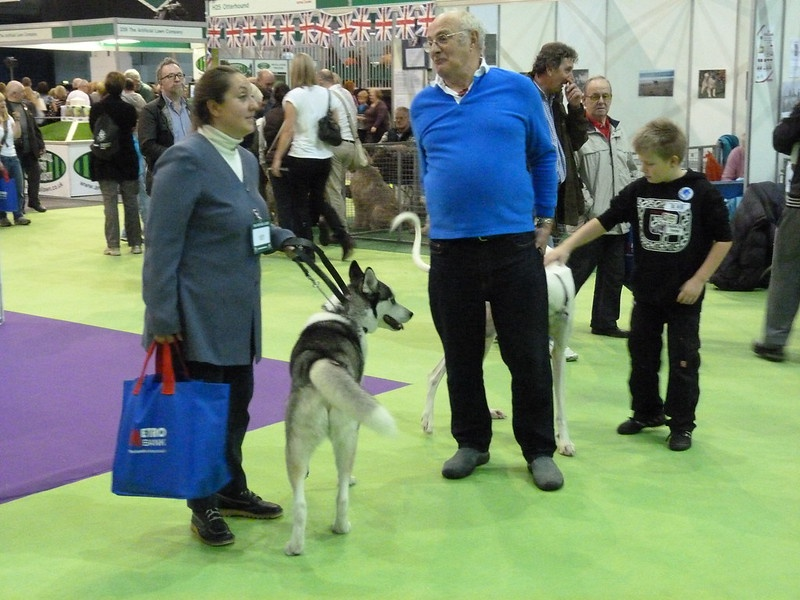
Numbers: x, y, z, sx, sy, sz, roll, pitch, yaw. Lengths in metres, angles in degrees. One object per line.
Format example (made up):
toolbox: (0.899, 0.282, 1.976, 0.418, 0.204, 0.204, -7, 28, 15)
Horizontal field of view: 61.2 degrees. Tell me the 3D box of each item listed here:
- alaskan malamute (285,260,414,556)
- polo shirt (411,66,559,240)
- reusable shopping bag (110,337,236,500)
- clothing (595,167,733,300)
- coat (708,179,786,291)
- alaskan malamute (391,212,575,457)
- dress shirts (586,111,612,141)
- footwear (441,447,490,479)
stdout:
alaskan malamute: (-0.290, 0.544, 3.566, 0.696, 1.214, 1.819, 3, 18, -1)
polo shirt: (0.460, -0.796, 3.700, 0.804, 0.926, 0.410, 1, 13, 6)
reusable shopping bag: (-1.054, 0.555, 3.097, 0.507, 0.672, 0.217, 1, 13, 6)
clothing: (1.680, -0.414, 4.339, 0.772, 0.822, 0.283, 7, 15, 28)
coat: (4.297, -0.829, 8.476, 0.621, 1.373, 1.187, 6, -1, -2)
alaskan malamute: (0.529, 0.080, 4.058, 0.659, 1.327, 2.057, 1, 0, 39)
dress shirts: (1.901, -1.675, 6.477, 0.240, 0.271, 0.115, -13, -6, 0)
footwear: (0.378, 0.959, 4.003, 0.123, 0.096, 0.312, 0, 0, 37)
